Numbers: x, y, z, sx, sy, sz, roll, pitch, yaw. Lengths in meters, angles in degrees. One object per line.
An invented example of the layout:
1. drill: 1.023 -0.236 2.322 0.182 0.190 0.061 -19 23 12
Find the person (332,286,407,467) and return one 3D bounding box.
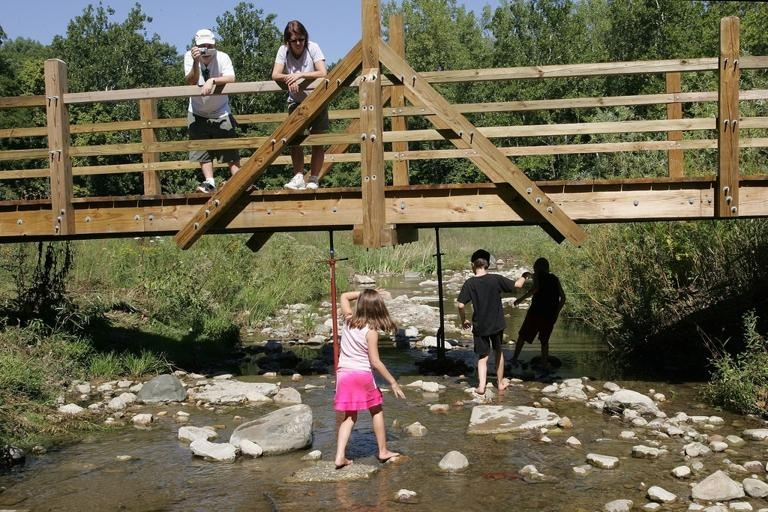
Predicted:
1. person: -0.332 1.975 14.528 1.042 2.896 0.684 -2 4 -3

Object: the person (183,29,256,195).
1. person: -3.210 -2.697 16.795 0.928 3.005 1.048 -3 4 -12

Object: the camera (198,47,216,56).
1. camera: -3.248 -3.768 16.527 0.311 0.148 0.106 -4 4 -26

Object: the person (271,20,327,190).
1. person: -1.519 -2.723 16.338 0.978 3.032 0.955 -2 4 -4

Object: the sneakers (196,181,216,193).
1. sneakers: -3.334 -1.298 16.886 0.401 0.179 0.162 1 -2 4

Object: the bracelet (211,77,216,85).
1. bracelet: -3.123 -3.203 16.398 0.089 0.084 0.158 -4 -4 -13

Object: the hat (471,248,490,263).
1. hat: 1.838 -0.006 17.166 0.295 0.209 0.289 1 2 -6

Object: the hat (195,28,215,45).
1. hat: -3.331 -4.033 16.651 0.325 0.307 0.333 -3 4 -18
